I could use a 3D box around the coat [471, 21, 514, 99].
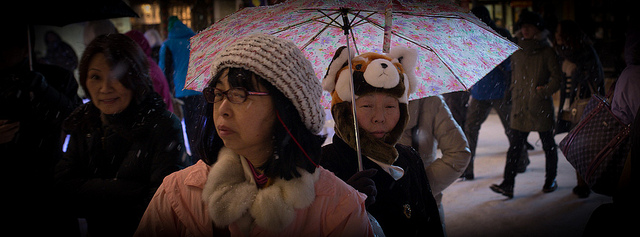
[{"bbox_3d":[4.174,-0.973,10.299,0.929,0.988,0.420,0,2,10],"label":"coat"}]

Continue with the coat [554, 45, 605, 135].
[{"bbox_3d":[6.241,-0.759,9.921,1.083,2.378,0.929,1,1,-6],"label":"coat"}]

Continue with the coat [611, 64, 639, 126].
[{"bbox_3d":[5.349,-0.414,7.391,0.400,1.058,0.149,0,2,24],"label":"coat"}]
